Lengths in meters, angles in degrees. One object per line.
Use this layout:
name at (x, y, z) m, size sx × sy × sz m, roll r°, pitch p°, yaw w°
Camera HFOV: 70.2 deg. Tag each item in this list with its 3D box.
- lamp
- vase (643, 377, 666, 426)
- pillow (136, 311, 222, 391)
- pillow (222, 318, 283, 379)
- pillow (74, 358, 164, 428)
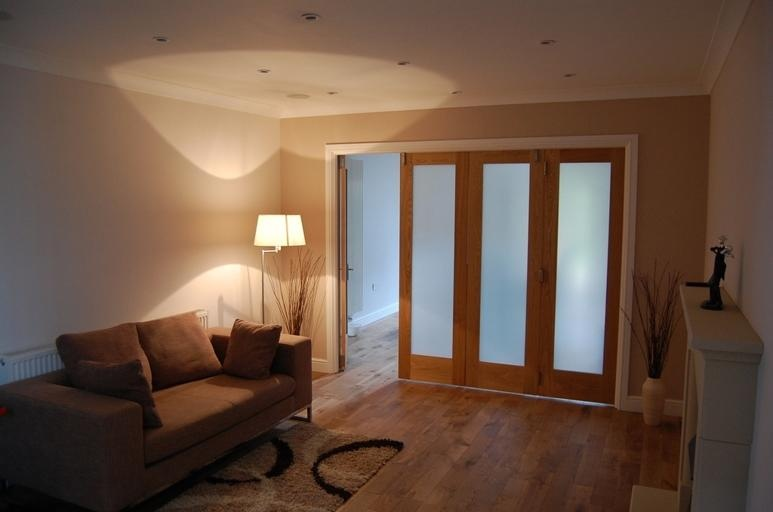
lamp at (-1.265, 0.175, 6.457) m, size 0.543 × 1.363 × 0.760 m, roll -2°, pitch 11°, yaw -13°
vase at (2.597, 1.430, 5.391) m, size 0.197 × 0.442 × 0.184 m, roll 5°, pitch 12°, yaw 21°
pillow at (-1.866, 0.839, 4.885) m, size 0.635 × 0.606 × 0.229 m, roll -9°, pitch -21°, yaw -49°
pillow at (-1.268, 0.895, 5.128) m, size 0.548 × 0.484 × 0.294 m, roll 3°, pitch -30°, yaw 28°
pillow at (-2.156, 0.996, 4.212) m, size 0.691 × 0.494 × 0.272 m, roll 0°, pitch 4°, yaw 19°
